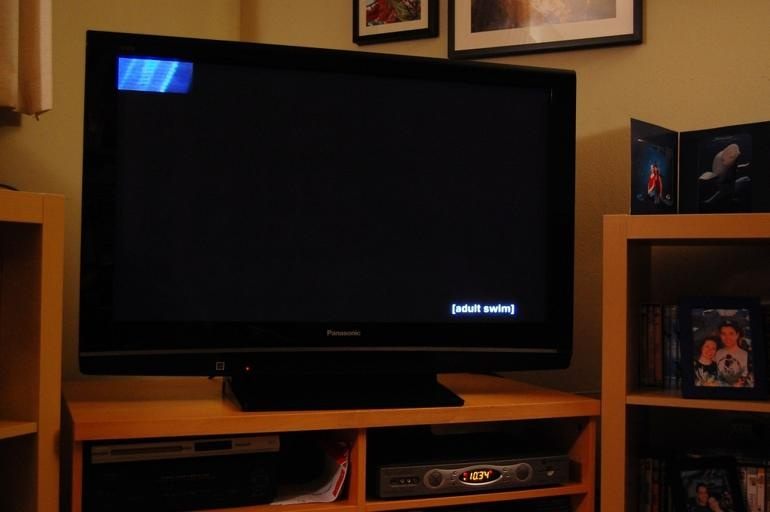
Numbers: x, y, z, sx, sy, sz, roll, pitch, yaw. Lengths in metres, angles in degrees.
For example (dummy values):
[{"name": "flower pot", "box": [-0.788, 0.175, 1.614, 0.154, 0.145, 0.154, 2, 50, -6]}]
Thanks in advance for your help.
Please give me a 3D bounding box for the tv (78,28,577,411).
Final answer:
[{"name": "tv", "box": [-0.201, -0.089, 2.251, 1.179, 0.844, 0.351, 1, -5, -13]}]
